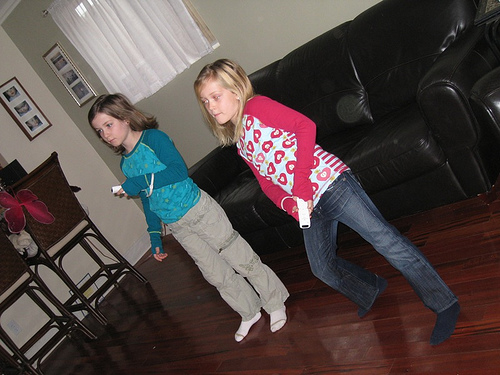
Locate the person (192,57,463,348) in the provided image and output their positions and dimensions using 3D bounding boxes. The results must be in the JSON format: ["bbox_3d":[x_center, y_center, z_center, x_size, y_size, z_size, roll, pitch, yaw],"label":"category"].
[{"bbox_3d":[0.321,0.018,1.595,0.489,1.491,0.633,-29,-4,-39],"label":"person"}]
